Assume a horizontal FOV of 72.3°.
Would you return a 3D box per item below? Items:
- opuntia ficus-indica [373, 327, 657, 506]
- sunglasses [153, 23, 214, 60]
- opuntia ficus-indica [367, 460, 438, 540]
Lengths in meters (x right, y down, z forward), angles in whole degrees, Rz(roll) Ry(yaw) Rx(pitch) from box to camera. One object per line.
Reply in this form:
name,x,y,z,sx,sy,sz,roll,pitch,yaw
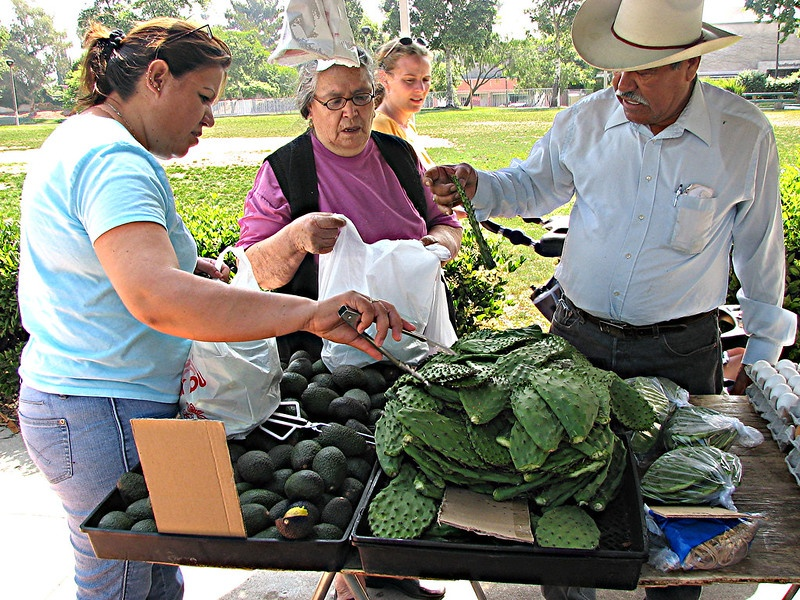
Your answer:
opuntia ficus-indica,0.357,0.330,1.999,0.863,0.505,0.873,5,13,34
sunglasses,-0.697,-0.838,1.834,0.156,0.048,0.155,-23,25,-5
opuntia ficus-indica,0.004,0.594,1.672,0.220,0.141,0.179,-2,9,-9
